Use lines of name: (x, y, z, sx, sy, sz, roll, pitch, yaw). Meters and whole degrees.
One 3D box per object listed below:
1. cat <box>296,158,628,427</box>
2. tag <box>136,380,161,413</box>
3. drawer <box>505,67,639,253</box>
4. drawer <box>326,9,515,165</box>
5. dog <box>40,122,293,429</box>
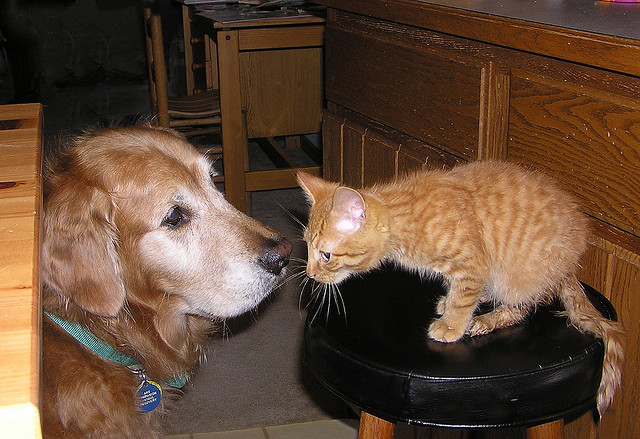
cat: (0.385, 0.097, 1.418, 0.840, 0.451, 0.385, 1, 10, 5)
tag: (-0.508, 0.522, 1.566, 0.067, 0.075, 0.044, -22, 35, -37)
drawer: (0.655, -0.143, 1.353, 0.216, 0.353, 0.379, -8, 35, -16)
drawer: (0.356, -0.464, 1.819, 0.332, 0.383, 0.623, -12, 35, -23)
dog: (-0.552, 0.222, 1.643, 0.502, 0.902, 0.798, 25, 35, 39)
